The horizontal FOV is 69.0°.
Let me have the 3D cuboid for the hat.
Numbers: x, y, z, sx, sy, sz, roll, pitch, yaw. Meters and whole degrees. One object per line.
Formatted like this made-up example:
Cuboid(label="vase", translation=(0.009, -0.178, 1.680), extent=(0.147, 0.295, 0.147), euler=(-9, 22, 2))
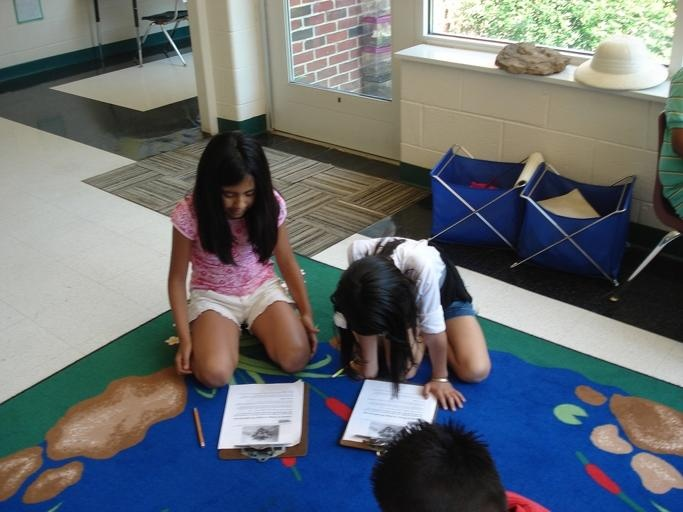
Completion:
Cuboid(label="hat", translation=(1.512, -1.012, 2.670), extent=(0.393, 0.151, 0.393), euler=(27, 56, 38))
